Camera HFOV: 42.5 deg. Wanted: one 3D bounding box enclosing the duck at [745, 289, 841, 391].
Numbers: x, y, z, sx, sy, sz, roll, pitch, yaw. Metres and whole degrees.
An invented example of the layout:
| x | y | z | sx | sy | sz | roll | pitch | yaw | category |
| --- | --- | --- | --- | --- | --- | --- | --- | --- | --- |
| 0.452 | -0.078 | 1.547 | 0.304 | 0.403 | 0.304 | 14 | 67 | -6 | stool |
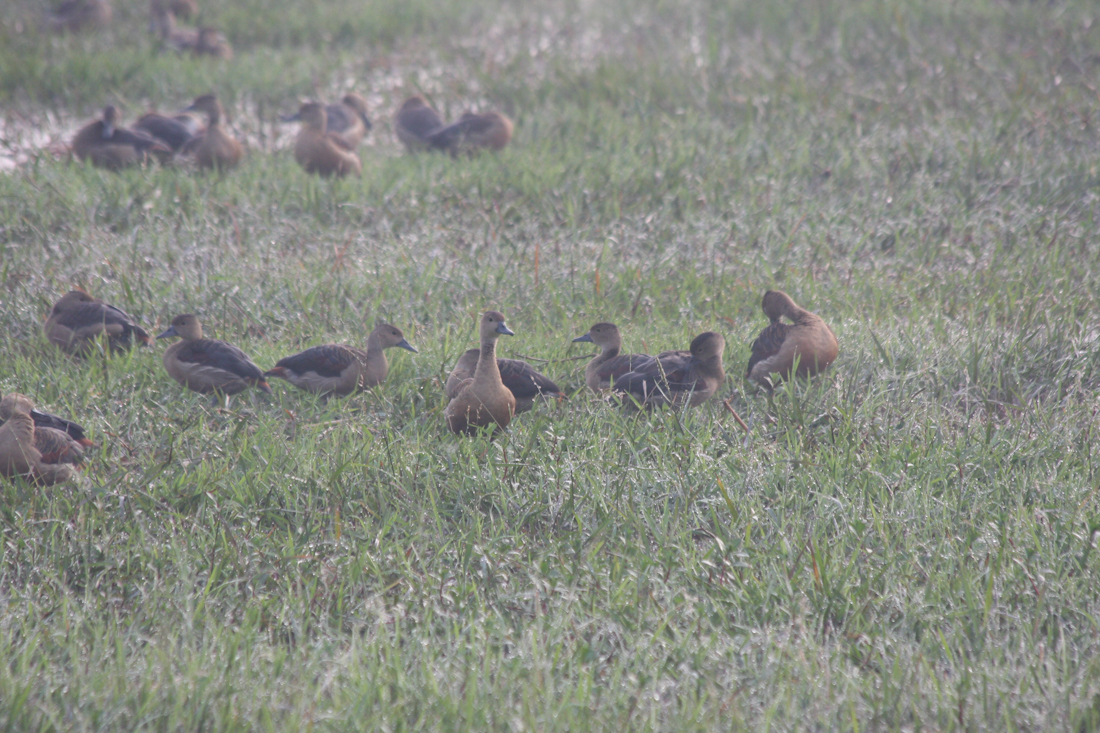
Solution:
| x | y | z | sx | sy | sz | roll | pitch | yaw | category |
| --- | --- | --- | --- | --- | --- | --- | --- | --- | --- |
| 2.229 | -0.259 | 12.814 | 0.812 | 0.827 | 0.640 | 12 | 13 | 20 | duck |

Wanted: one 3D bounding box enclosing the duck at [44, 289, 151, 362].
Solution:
| x | y | z | sx | sy | sz | roll | pitch | yaw | category |
| --- | --- | --- | --- | --- | --- | --- | --- | --- | --- |
| -4.198 | -0.394 | 13.014 | 0.756 | 0.365 | 0.594 | 23 | 25 | 16 | duck |

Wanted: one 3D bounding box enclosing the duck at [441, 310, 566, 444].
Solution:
| x | y | z | sx | sy | sz | roll | pitch | yaw | category |
| --- | --- | --- | --- | --- | --- | --- | --- | --- | --- |
| -0.577 | 0.109 | 12.576 | 0.779 | 1.278 | 1.024 | -7 | 85 | -16 | duck |

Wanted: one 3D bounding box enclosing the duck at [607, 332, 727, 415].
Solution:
| x | y | z | sx | sy | sz | roll | pitch | yaw | category |
| --- | --- | --- | --- | --- | --- | --- | --- | --- | --- |
| 1.097 | 0.077 | 12.474 | 0.976 | 0.373 | 0.530 | -14 | 48 | -10 | duck |
